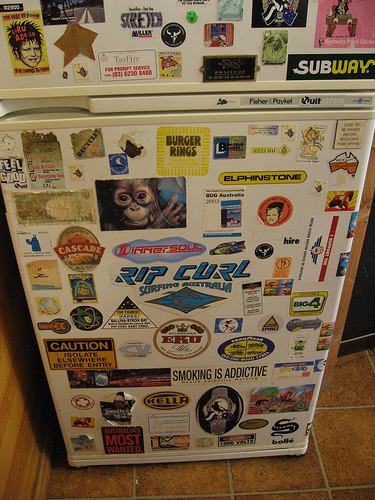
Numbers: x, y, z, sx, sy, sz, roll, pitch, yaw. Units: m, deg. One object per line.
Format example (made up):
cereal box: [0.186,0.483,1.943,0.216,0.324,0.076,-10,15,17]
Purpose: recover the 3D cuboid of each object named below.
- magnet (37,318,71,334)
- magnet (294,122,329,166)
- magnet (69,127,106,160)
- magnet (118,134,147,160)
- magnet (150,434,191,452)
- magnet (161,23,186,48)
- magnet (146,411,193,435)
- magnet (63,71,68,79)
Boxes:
magnet: [-0.314,0.182,1.010,0.069,0.033,0.009,3,29,-4]
magnet: [0.237,-0.202,0.817,0.052,0.082,0.027,4,41,6]
magnet: [-0.181,-0.196,0.789,0.037,0.036,0.008,13,11,-16]
magnet: [-0.103,-0.189,0.789,0.031,0.049,0.011,-45,22,12]
magnet: [-0.050,0.561,1.249,0.096,0.052,0.012,0,44,0]
magnet: [-0.024,-0.357,0.707,0.042,0.038,0.007,-1,48,0]
magnet: [-0.054,0.470,1.207,0.153,0.085,0.070,0,76,1]
magnet: [-0.209,-0.300,0.734,0.009,0.011,0.007,0,82,-1]
